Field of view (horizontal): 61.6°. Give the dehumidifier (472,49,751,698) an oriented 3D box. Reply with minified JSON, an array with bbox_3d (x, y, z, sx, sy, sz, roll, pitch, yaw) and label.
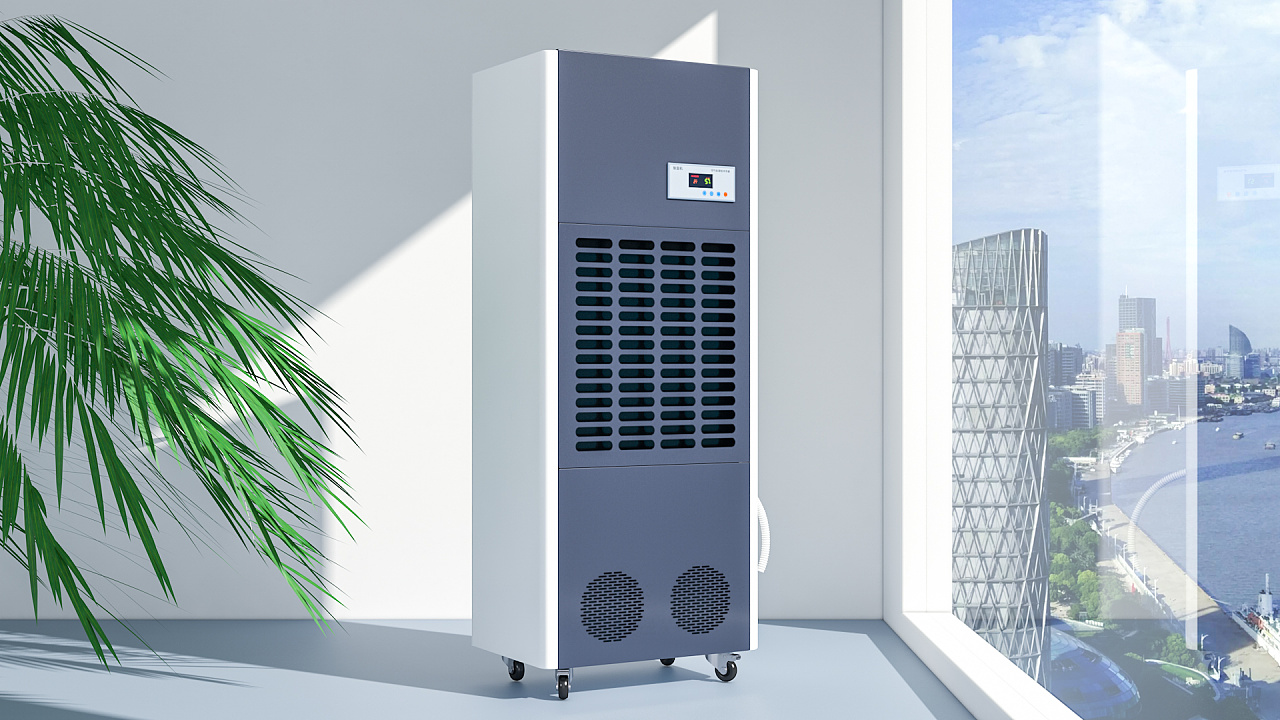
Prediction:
[{"bbox_3d":[-0.091,-0.005,4.081,1.173,2.271,0.379,-3,-4,-9],"label":"dehumidifier"}]

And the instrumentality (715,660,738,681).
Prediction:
[{"bbox_3d":[0.337,1.202,4.143,0.076,0.068,0.026,-17,-7,16],"label":"instrumentality"}]
